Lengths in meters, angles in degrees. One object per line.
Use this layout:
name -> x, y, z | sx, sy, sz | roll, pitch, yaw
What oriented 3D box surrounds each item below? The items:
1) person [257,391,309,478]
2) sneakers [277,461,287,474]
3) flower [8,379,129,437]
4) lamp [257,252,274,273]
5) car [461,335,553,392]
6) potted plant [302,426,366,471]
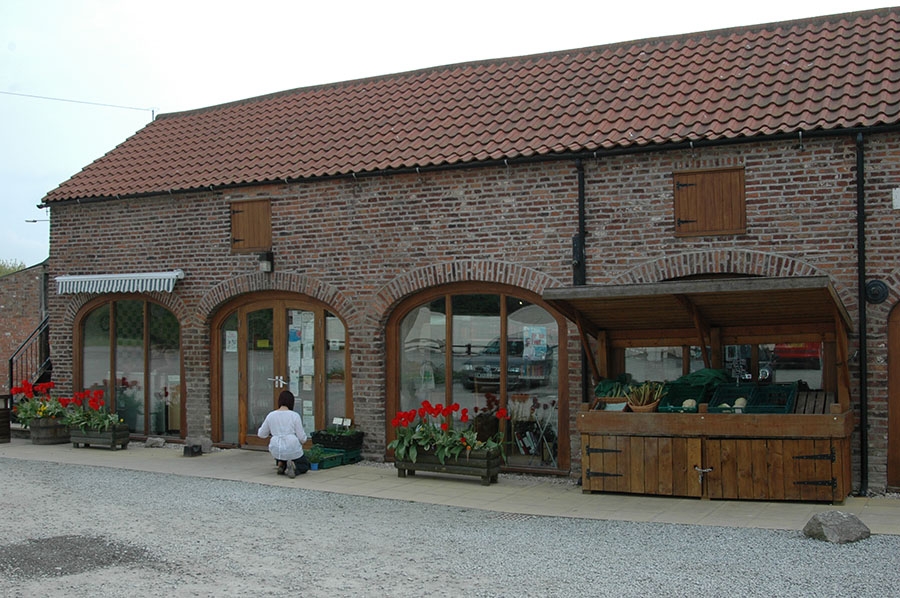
person -> -3.186, 2.531, 15.913 | 1.071, 1.543, 1.079 | 1, -1, -45
sneakers -> -3.138, 3.140, 15.585 | 0.123, 0.307, 0.225 | -1, -2, -3
flower -> -8.644, 2.496, 18.932 | 2.495, 1.019, 1.357 | 0, -1, 12
lamp -> -3.899, -0.780, 17.572 | 0.358, 0.484, 0.244 | -1, 3, 1
car -> 1.095, 1.309, 15.986 | 1.515, 0.678, 0.888 | 2, 2, 14
potted plant -> -2.378, 2.974, 16.559 | 0.586, 0.642, 1.281 | 2, 4, 42
